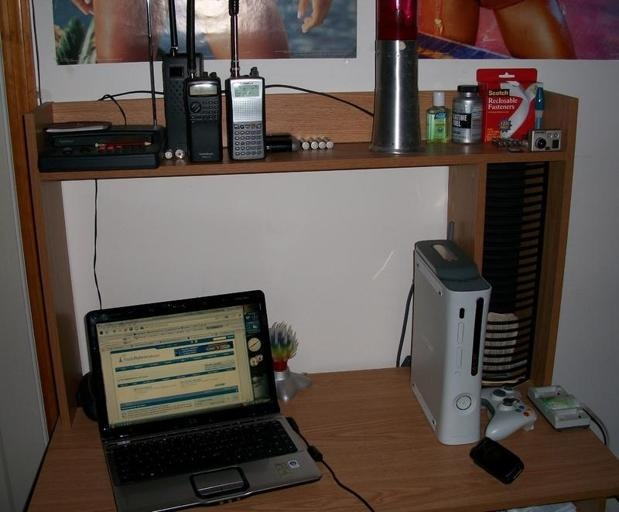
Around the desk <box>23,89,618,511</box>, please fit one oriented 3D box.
[{"bbox_3d":[-0.015,0.093,1.363,0.999,0.726,0.525,-4,20,-8],"label":"desk"}]

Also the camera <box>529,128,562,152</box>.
[{"bbox_3d":[0.554,-0.272,1.312,0.084,0.061,0.049,-1,16,-3],"label":"camera"}]
